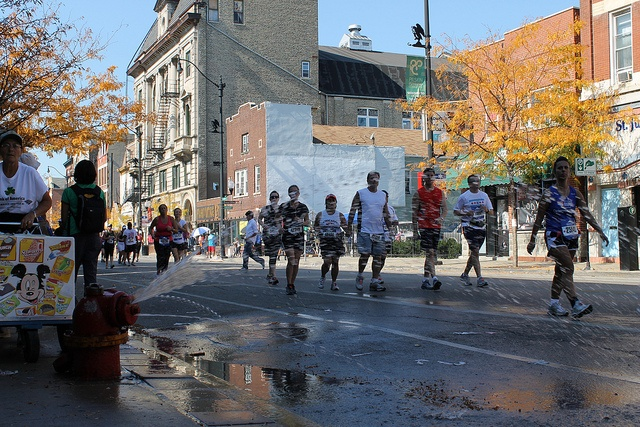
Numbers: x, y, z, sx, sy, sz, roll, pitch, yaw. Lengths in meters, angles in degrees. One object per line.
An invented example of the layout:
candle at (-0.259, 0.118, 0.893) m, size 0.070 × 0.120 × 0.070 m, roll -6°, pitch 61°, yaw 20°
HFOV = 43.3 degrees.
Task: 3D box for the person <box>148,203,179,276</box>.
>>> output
person at (-4.199, 0.724, 21.697) m, size 0.737 × 1.916 × 1.063 m, roll -1°, pitch 7°, yaw -11°

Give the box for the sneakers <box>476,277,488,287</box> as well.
sneakers at (3.645, 1.581, 18.220) m, size 0.150 × 0.141 × 0.323 m, roll -2°, pitch -9°, yaw -6°

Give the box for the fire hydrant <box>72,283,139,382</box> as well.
fire hydrant at (-2.835, 1.535, 10.502) m, size 0.911 × 1.190 × 0.434 m, roll -2°, pitch 7°, yaw -15°

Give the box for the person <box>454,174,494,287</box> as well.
person at (3.494, 0.427, 18.502) m, size 0.834 × 2.604 × 1.158 m, roll 1°, pitch 7°, yaw 11°

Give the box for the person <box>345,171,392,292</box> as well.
person at (1.026, 0.416, 17.653) m, size 0.764 × 2.635 × 0.934 m, roll 3°, pitch 8°, yaw 20°

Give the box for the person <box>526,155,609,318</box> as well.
person at (4.160, 0.403, 13.792) m, size 1.186 × 2.702 × 0.909 m, roll 2°, pitch 7°, yaw 14°

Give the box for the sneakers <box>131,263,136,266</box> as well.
sneakers at (-8.326, 2.298, 35.915) m, size 0.147 × 0.143 × 0.525 m, roll 10°, pitch -1°, yaw -16°

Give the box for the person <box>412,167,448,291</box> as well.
person at (2.413, 0.376, 17.913) m, size 0.712 × 2.714 × 1.335 m, roll 1°, pitch 7°, yaw 8°

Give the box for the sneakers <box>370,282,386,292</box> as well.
sneakers at (1.229, 1.629, 17.718) m, size 0.413 × 0.160 × 0.152 m, roll -5°, pitch -6°, yaw 42°

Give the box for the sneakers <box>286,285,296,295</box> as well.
sneakers at (-0.636, 1.662, 17.437) m, size 0.204 × 0.221 × 0.325 m, roll 0°, pitch 6°, yaw -2°

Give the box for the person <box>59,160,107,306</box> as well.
person at (-3.620, 0.162, 12.262) m, size 0.636 × 1.918 × 0.710 m, roll 0°, pitch 7°, yaw -3°

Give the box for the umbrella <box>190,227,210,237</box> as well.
umbrella at (-7.316, 1.151, 48.873) m, size 0.949 × 0.284 × 0.885 m, roll -15°, pitch 3°, yaw 20°
